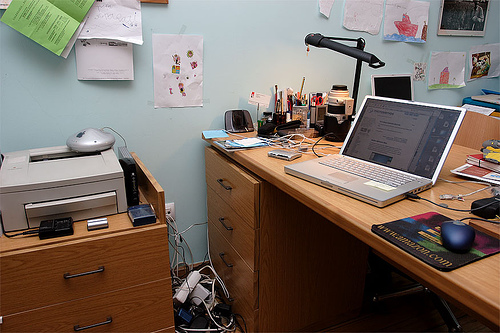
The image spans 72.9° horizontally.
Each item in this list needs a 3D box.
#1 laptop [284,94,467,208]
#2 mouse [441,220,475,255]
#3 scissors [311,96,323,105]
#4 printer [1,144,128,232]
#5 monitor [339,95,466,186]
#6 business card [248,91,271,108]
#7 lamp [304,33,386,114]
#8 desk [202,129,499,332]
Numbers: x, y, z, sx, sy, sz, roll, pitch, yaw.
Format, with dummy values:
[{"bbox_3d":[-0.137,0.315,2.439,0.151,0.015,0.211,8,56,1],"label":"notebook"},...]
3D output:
[{"bbox_3d":[0.503,-0.087,1.360,0.494,0.326,0.449,-16,24,-40],"label":"laptop"},{"bbox_3d":[0.637,0.194,1.038,0.094,0.046,0.151,6,27,26],"label":"mouse"},{"bbox_3d":[0.423,-0.417,2.156,0.058,0.055,0.014,23,16,28],"label":"scissors"},{"bbox_3d":[-0.867,0.047,1.544,0.449,0.201,0.400,-9,32,-22],"label":"printer"},{"bbox_3d":[0.499,-0.100,1.371,0.442,0.278,0.499,-12,21,-32],"label":"monitor"},{"bbox_3d":[0.056,-0.411,2.104,0.124,0.104,0.136,1,18,2],"label":"business card"},{"bbox_3d":[0.535,-0.482,1.891,0.408,0.434,0.383,-12,36,-28],"label":"lamp"},{"bbox_3d":[0.401,0.291,1.502,0.592,0.575,0.995,-7,23,-24],"label":"desk"}]
